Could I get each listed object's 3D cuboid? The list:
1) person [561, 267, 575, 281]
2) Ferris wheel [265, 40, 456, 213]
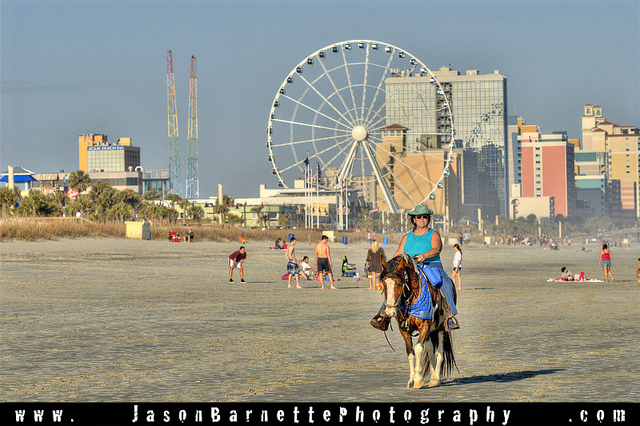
[{"bbox_3d":[22.344,5.739,141.339,1.516,1.193,0.993,1,-4,-43],"label":"person"},{"bbox_3d":[5.755,-10.611,214.642,27.060,9.404,29.463,2,-45,2],"label":"Ferris wheel"}]
